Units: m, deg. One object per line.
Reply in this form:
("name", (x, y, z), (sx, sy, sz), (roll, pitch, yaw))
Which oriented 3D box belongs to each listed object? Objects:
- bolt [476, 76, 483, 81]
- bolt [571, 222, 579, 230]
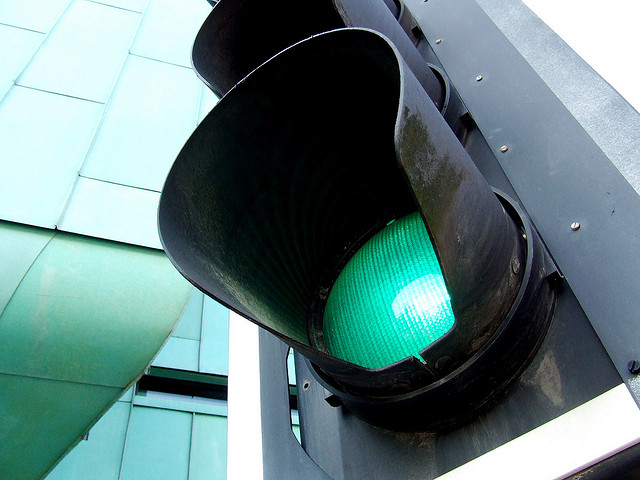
("bolt", (0.490, -0.497, 1.618), (0.013, 0.015, 0.005), (16, -8, 42))
("bolt", (0.577, -0.031, 1.190), (0.008, 0.014, 0.017), (3, 36, -19))
